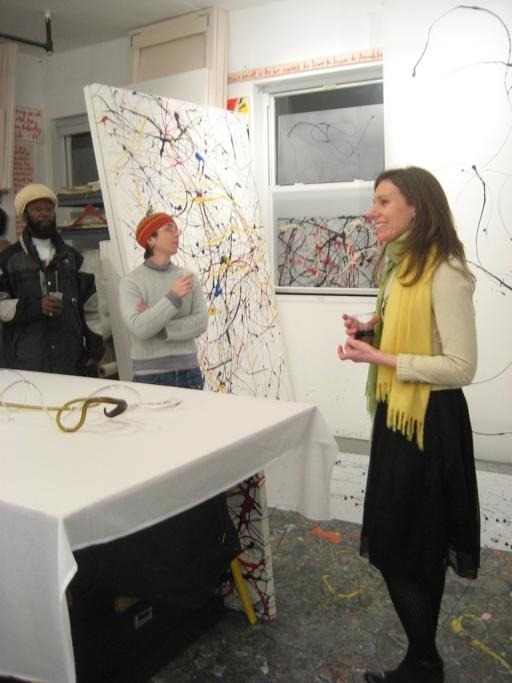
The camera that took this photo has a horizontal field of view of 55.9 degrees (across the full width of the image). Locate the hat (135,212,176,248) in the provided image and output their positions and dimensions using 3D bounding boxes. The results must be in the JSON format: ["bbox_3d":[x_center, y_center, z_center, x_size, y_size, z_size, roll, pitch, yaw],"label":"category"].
[{"bbox_3d":[-0.523,-0.546,2.502,0.191,0.091,0.168,-33,34,22],"label":"hat"}]

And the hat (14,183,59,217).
[{"bbox_3d":[-1.126,-0.725,2.473,0.160,0.203,0.159,4,26,-32],"label":"hat"}]

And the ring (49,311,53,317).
[{"bbox_3d":[-1.031,-0.137,2.425,0.017,0.016,0.007,8,7,22],"label":"ring"}]

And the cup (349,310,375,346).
[{"bbox_3d":[0.344,-0.053,1.566,0.088,0.082,0.097,-1,-7,3],"label":"cup"}]
